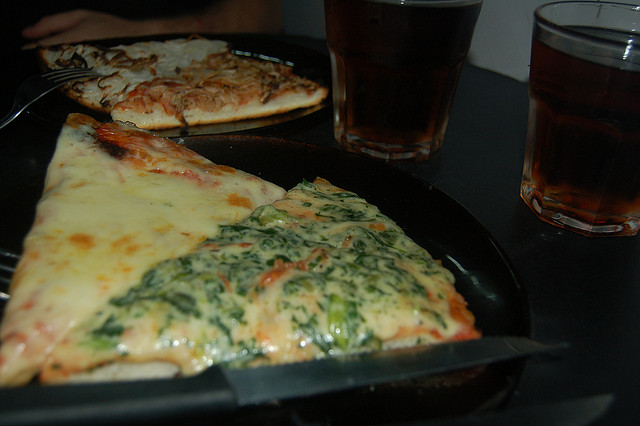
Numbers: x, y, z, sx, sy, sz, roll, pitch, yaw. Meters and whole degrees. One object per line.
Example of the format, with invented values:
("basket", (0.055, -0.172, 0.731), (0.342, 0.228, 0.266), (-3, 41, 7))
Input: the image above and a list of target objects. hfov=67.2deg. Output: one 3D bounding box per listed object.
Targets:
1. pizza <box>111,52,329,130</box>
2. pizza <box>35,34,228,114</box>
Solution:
("pizza", (-0.340, -0.393, 1.593), (0.422, 0.061, 0.423), (10, 32, 20))
("pizza", (-0.668, -0.572, 1.828), (0.632, 0.102, 0.381), (-16, 42, -29))
